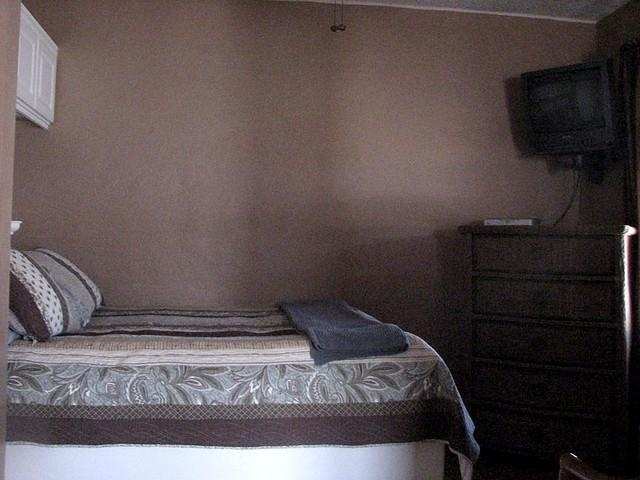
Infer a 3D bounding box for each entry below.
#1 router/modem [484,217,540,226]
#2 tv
[{"bbox_3d":[1.260,-0.124,3.821,0.333,0.034,0.453,0,5,20],"label":"router/modem"},{"bbox_3d":[1.743,-0.864,4.156,0.693,0.670,0.618,-2,10,31],"label":"tv"}]
